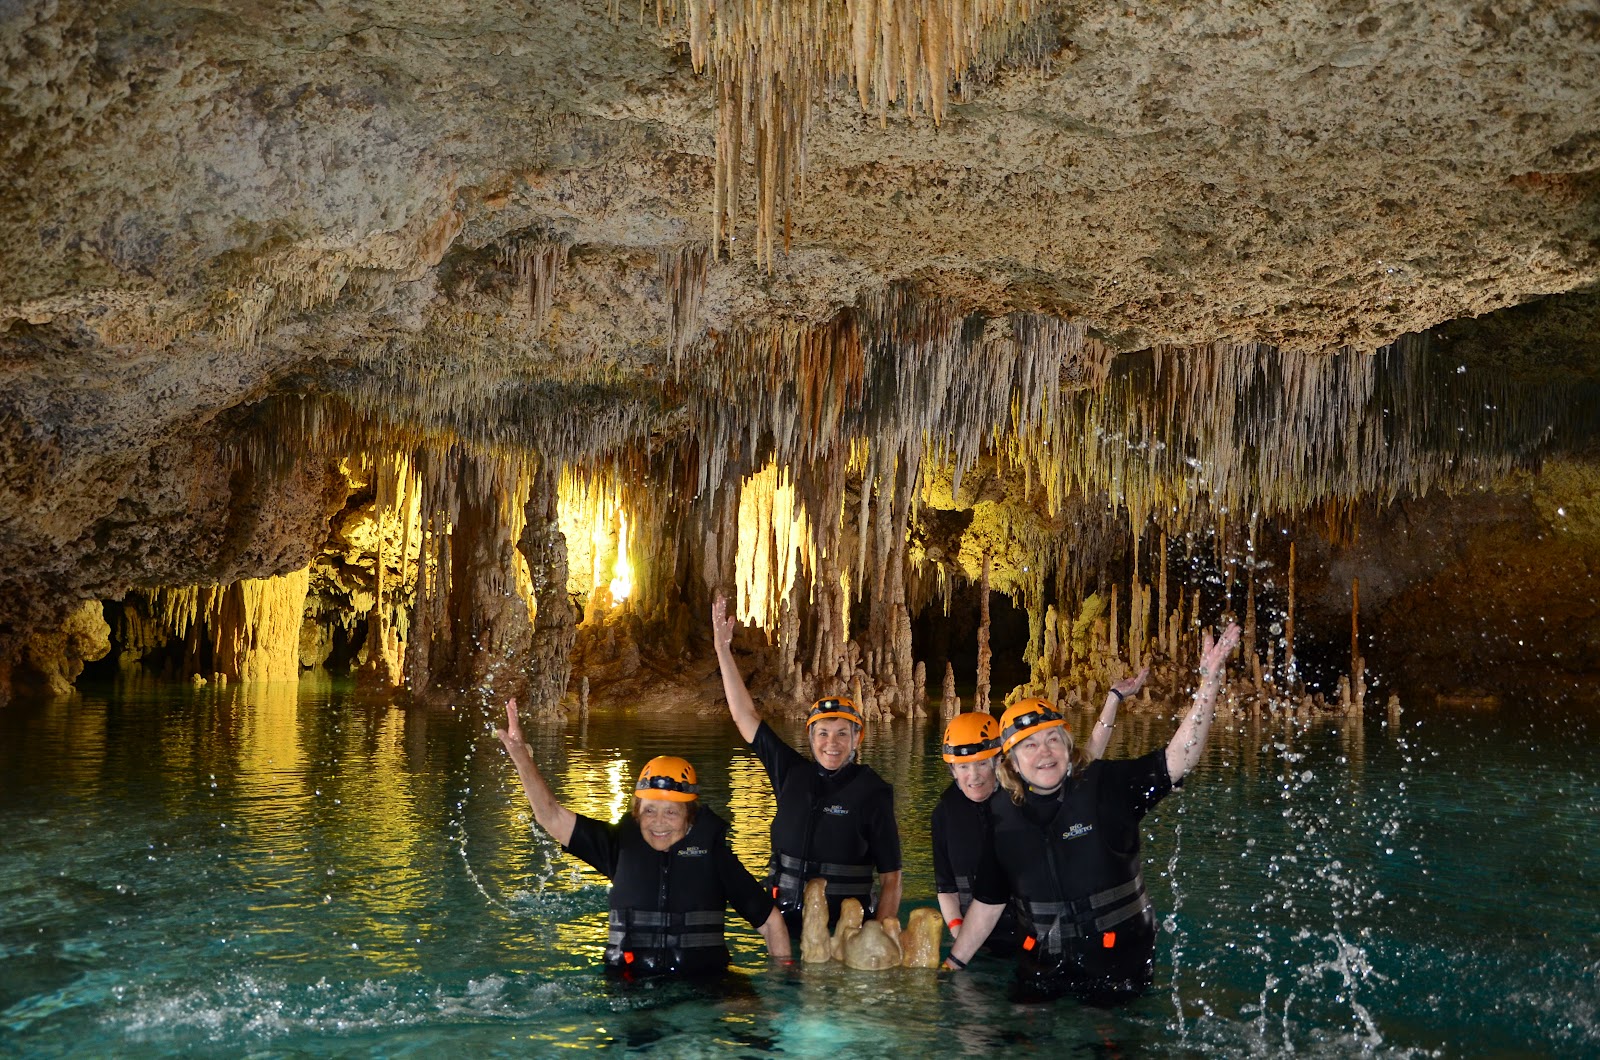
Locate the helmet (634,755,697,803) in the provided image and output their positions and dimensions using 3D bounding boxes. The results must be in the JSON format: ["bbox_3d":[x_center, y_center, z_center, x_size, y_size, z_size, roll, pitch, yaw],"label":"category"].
[{"bbox_3d":[-0.768,1.518,9.028,0.264,0.197,0.372,3,-13,12],"label":"helmet"}]

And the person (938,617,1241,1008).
[{"bbox_3d":[1.624,1.722,8.675,1.473,1.973,0.782,-1,-8,12],"label":"person"}]

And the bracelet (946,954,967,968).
[{"bbox_3d":[0.960,2.666,9.207,0.098,0.026,0.095,3,-1,-29],"label":"bracelet"}]

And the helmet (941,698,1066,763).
[{"bbox_3d":[1.185,1.240,8.844,0.577,0.190,0.405,-22,2,5],"label":"helmet"}]

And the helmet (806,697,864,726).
[{"bbox_3d":[0.239,1.158,9.806,0.402,0.214,0.582,0,-4,5],"label":"helmet"}]

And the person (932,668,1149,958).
[{"bbox_3d":[1.400,1.596,9.363,1.151,1.813,0.825,-1,1,6],"label":"person"}]
